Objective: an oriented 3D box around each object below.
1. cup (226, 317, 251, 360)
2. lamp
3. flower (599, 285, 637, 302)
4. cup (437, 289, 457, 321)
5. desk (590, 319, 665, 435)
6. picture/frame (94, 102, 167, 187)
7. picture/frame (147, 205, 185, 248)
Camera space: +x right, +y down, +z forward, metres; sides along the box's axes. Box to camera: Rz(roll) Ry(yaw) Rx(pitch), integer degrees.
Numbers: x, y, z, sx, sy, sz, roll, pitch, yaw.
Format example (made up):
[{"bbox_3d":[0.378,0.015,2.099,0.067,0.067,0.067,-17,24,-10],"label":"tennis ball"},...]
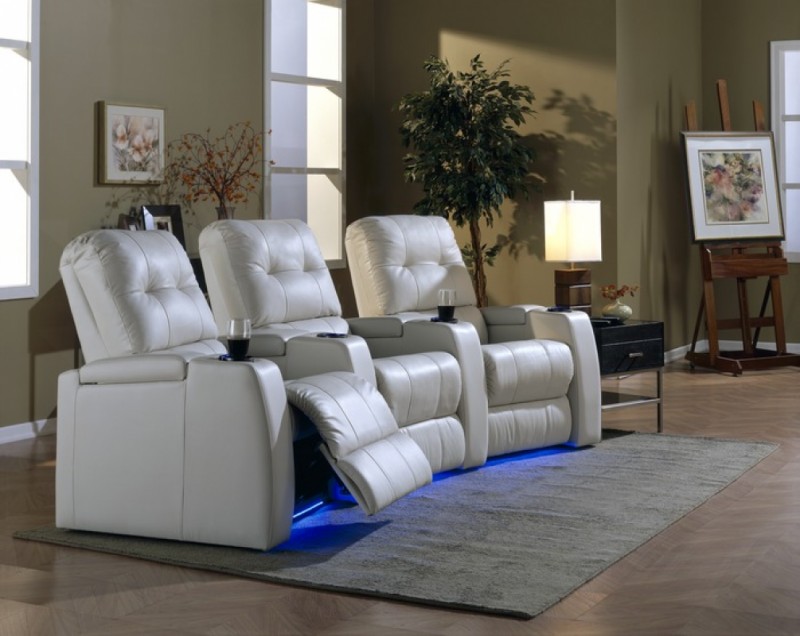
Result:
[{"bbox_3d":[-0.565,0.072,2.330,0.076,0.138,0.147,-1,2,-14],"label":"cup"},{"bbox_3d":[1.224,-0.410,4.749,0.380,0.952,0.391,-1,7,11],"label":"lamp"},{"bbox_3d":[1.688,-0.197,5.210,0.219,0.094,0.185,0,5,6],"label":"flower"},{"bbox_3d":[0.225,-0.073,3.347,0.126,0.212,0.125,0,-2,0],"label":"cup"},{"bbox_3d":[1.339,0.348,4.240,0.544,0.704,0.559,-6,8,-30],"label":"desk"},{"bbox_3d":[-1.858,-1.203,4.614,0.065,0.554,0.575,11,15,21],"label":"picture/frame"},{"bbox_3d":[-1.648,-0.636,4.617,0.222,0.293,0.022,-6,-32,-12],"label":"picture/frame"}]
